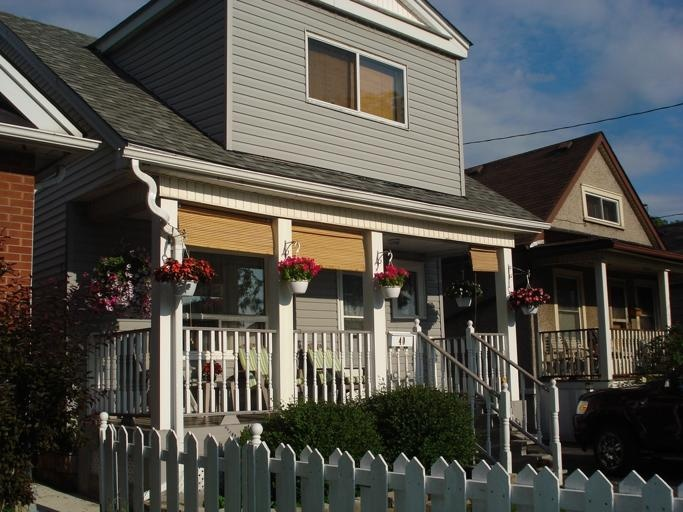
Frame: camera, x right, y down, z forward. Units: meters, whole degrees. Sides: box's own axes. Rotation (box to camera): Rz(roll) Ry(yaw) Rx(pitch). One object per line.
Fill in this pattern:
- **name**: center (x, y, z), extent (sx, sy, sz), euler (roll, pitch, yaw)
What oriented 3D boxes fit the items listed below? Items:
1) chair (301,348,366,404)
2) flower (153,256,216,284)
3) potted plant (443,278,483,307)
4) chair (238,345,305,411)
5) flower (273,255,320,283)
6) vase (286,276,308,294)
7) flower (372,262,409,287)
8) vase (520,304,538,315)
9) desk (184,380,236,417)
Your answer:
- **chair**: center (-0.202, 2.163, 15.267), extent (0.776, 0.776, 0.532), euler (2, 3, 8)
- **flower**: center (-2.314, 0.197, 12.673), extent (0.857, 0.419, 0.397), euler (2, -12, -12)
- **potted plant**: center (2.593, 0.809, 18.175), extent (0.645, 0.503, 0.677), euler (-7, -12, 33)
- **chair**: center (-1.189, 2.042, 14.266), extent (1.038, 1.090, 2.372), euler (1, -11, -6)
- **flower**: center (-0.691, 0.211, 13.862), extent (0.464, 0.318, 0.486), euler (-6, -11, 35)
- **vase**: center (-0.695, 0.475, 13.819), extent (0.264, 0.179, 0.265), euler (-8, -12, 32)
- **flower**: center (0.859, 0.388, 15.213), extent (0.482, 0.444, 0.517), euler (-7, -11, 43)
- **vase**: center (3.698, 1.066, 16.898), extent (0.317, 0.207, 0.280), euler (-6, -16, 29)
- **desk**: center (-2.197, 2.235, 13.731), extent (1.063, 0.485, 1.039), euler (0, -5, 1)
